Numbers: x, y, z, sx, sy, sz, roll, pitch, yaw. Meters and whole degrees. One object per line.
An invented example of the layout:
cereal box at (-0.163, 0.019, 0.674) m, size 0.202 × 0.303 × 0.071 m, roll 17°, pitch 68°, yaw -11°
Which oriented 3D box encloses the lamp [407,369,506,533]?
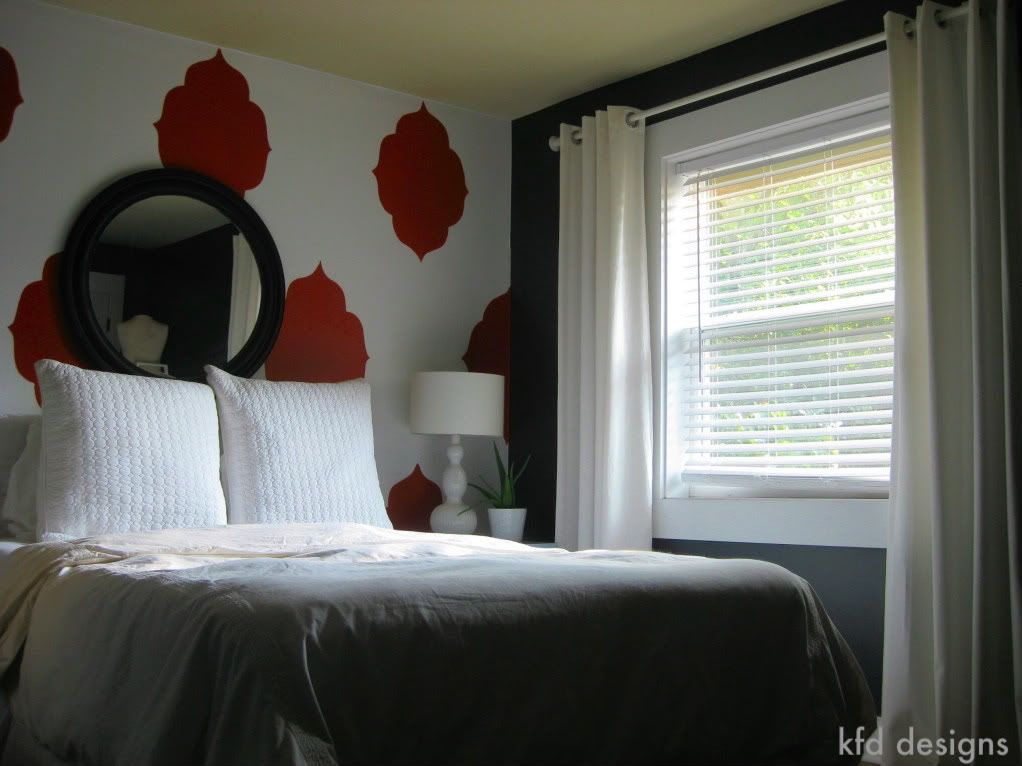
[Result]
lamp at (-0.272, 0.350, 4.044) m, size 0.475 × 0.804 × 0.487 m, roll -3°, pitch -8°, yaw 21°

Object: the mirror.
mirror at (-1.497, -0.452, 3.488) m, size 0.923 × 0.944 × 0.082 m, roll 4°, pitch -13°, yaw -44°

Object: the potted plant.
potted plant at (-0.053, 0.554, 3.979) m, size 0.259 × 0.403 × 0.291 m, roll 5°, pitch -4°, yaw -23°
